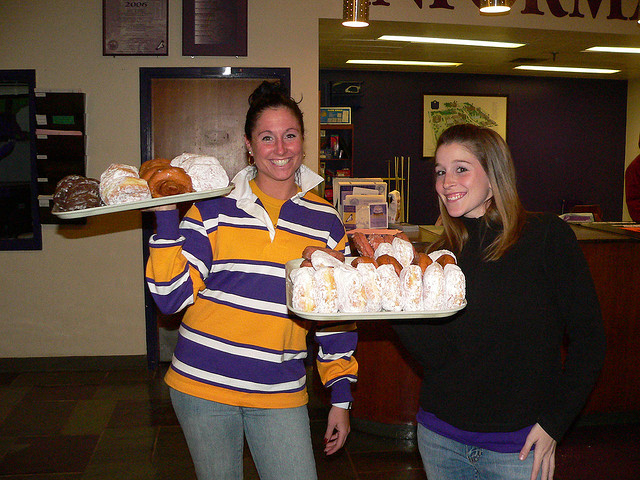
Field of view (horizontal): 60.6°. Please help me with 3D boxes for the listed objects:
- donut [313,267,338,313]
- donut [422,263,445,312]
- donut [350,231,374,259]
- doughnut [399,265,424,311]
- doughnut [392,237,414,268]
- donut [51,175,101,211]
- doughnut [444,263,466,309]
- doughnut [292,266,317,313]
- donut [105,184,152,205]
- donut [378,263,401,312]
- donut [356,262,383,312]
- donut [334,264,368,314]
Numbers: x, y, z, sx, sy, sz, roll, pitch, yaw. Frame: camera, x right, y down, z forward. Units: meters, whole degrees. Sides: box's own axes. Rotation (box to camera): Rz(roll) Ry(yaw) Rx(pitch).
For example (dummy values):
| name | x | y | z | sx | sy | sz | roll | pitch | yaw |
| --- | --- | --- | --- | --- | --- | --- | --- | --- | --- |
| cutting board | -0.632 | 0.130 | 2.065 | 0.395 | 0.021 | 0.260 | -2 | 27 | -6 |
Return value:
| name | x | y | z | sx | sy | sz | roll | pitch | yaw |
| --- | --- | --- | --- | --- | --- | --- | --- | --- | --- |
| donut | 0.022 | 0.183 | 1.988 | 0.073 | 0.160 | 0.051 | -6 | -6 | -7 |
| donut | 0.407 | 0.168 | 1.963 | 0.077 | 0.156 | 0.054 | 4 | 3 | -5 |
| donut | 0.175 | 0.022 | 2.260 | 0.057 | 0.117 | 0.025 | -8 | -26 | -28 |
| doughnut | 0.334 | 0.170 | 1.963 | 0.076 | 0.153 | 0.050 | -5 | 2 | -4 |
| doughnut | 0.331 | 0.049 | 2.164 | 0.069 | 0.107 | 0.031 | -7 | -16 | -22 |
| donut | -0.960 | -0.188 | 2.159 | 0.163 | 0.119 | 0.112 | -6 | 14 | -26 |
| doughnut | 0.491 | 0.169 | 1.981 | 0.074 | 0.146 | 0.047 | -3 | 3 | -8 |
| doughnut | -0.051 | 0.180 | 1.889 | 0.076 | 0.143 | 0.047 | -1 | -6 | 0 |
| donut | -0.750 | -0.175 | 2.139 | 0.107 | 0.031 | 0.111 | -7 | -4 | 15 |
| donut | 0.253 | 0.176 | 1.964 | 0.071 | 0.151 | 0.048 | -5 | -8 | -5 |
| donut | 0.165 | 0.181 | 2.001 | 0.079 | 0.181 | 0.057 | 8 | 22 | 5 |
| donut | 0.110 | 0.181 | 1.997 | 0.089 | 0.173 | 0.057 | -14 | 2 | -5 |
